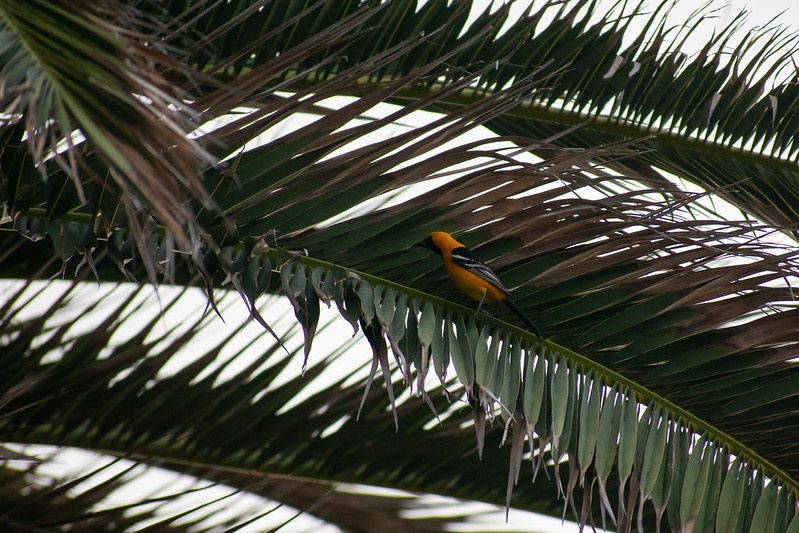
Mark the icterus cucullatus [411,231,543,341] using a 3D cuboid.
[{"bbox_3d":[0.387,0.072,8.494,0.724,0.358,0.201,19,-38,-24],"label":"icterus cucullatus"}]
